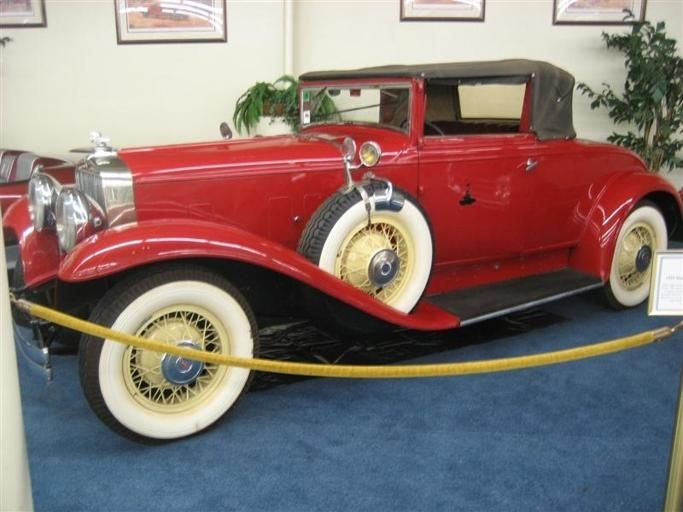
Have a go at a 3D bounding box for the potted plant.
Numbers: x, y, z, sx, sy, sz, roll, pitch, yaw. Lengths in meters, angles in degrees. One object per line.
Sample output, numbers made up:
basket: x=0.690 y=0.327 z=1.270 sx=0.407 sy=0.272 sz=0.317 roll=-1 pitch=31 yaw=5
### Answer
potted plant: x=-0.290 y=-0.663 z=2.465 sx=0.343 sy=0.217 sz=0.260 roll=-9 pitch=16 yaw=-24
